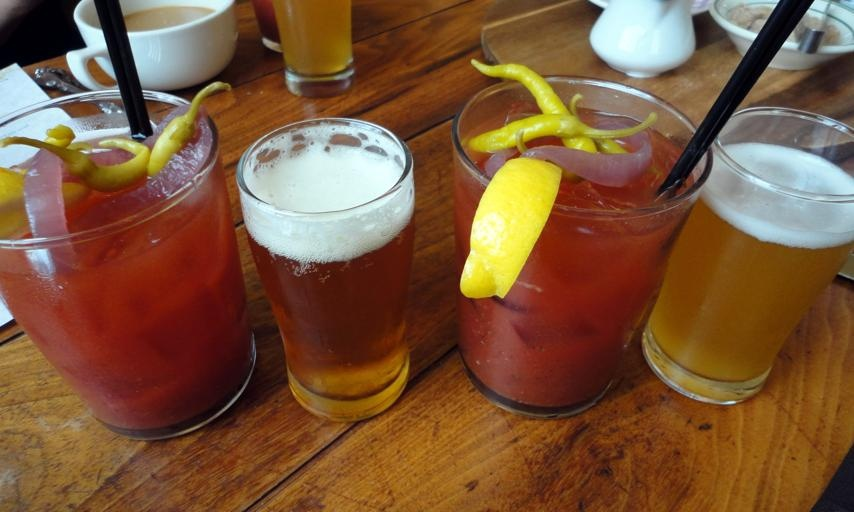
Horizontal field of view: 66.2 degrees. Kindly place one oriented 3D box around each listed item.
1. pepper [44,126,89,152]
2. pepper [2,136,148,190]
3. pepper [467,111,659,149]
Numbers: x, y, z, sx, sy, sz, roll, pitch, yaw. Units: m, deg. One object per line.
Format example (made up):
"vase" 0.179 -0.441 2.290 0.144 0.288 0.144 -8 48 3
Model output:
"pepper" -0.496 -0.165 0.909 0.039 0.027 0.058 11 16 4
"pepper" -0.464 -0.115 0.872 0.162 0.047 0.081 0 34 -25
"pepper" 0.189 -0.175 0.920 0.270 0.042 0.057 -4 59 13
